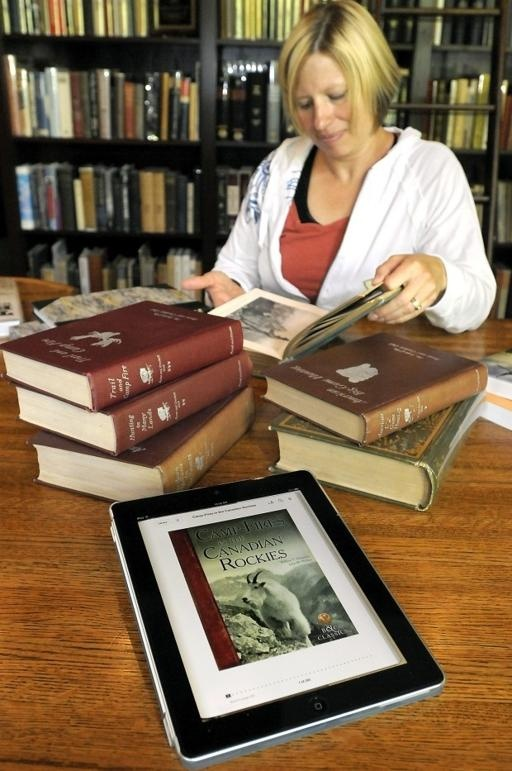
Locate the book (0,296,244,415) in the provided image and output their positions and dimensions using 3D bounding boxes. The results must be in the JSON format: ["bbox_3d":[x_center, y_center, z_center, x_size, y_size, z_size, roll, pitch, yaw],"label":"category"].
[{"bbox_3d":[-0.161,-0.036,0.628,0.129,0.038,0.186,18,29,35],"label":"book"}]

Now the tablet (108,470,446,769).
[{"bbox_3d":[0.002,0.145,0.460,0.188,0.044,0.244,-9,24,-18],"label":"tablet"}]

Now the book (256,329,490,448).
[{"bbox_3d":[0.146,-0.006,0.678,0.162,0.032,0.139,-18,29,-35],"label":"book"}]

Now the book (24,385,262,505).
[{"bbox_3d":[-0.095,0.032,0.623,0.115,0.035,0.151,6,21,39],"label":"book"}]

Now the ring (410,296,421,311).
[{"bbox_3d":[0.253,-0.127,0.973,0.018,0.018,0.004,-53,22,-16],"label":"ring"}]

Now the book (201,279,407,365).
[{"bbox_3d":[0.046,-0.097,0.953,0.235,0.087,0.138,13,31,40],"label":"book"}]

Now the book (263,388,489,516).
[{"bbox_3d":[0.143,0.042,0.694,0.243,0.048,0.261,-2,26,7],"label":"book"}]
